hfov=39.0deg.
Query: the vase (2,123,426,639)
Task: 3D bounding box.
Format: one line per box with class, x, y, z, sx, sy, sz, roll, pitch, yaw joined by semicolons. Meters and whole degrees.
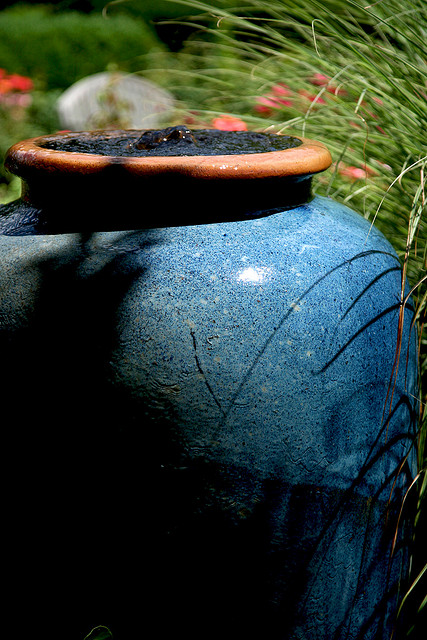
vase;0.043;0.018;1.197;0.836;0.787;0.807;6;16;21
